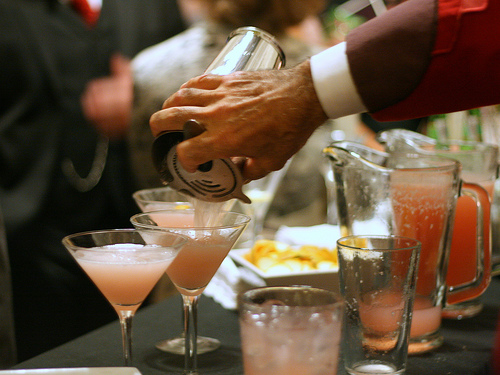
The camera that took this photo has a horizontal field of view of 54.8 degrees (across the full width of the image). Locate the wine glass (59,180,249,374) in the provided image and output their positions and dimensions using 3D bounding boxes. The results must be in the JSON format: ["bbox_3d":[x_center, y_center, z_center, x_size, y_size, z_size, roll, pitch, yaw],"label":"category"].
[{"bbox_3d":[-0.155,0.215,0.981,0.228,0.322,0.328,20,28,38],"label":"wine glass"}]

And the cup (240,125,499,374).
[{"bbox_3d":[0.236,0.083,1.078,0.530,0.498,0.352,2,-3,3],"label":"cup"}]
